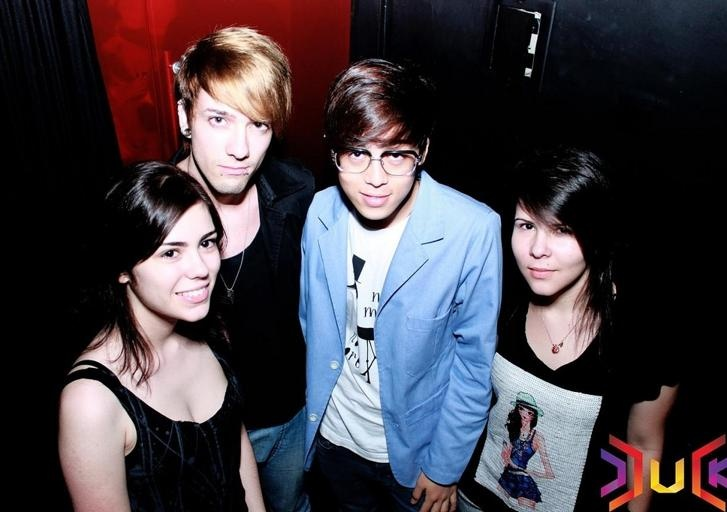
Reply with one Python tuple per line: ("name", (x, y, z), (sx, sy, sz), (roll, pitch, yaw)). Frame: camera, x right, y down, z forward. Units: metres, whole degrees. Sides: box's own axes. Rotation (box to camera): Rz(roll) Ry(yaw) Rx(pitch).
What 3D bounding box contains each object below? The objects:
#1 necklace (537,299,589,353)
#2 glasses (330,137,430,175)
("necklace", (0.953, 0.338, 2.528), (0.238, 0.292, 0.035), (2, -8, 8))
("glasses", (0.054, -0.438, 2.475), (0.374, 0.132, 0.086), (3, 23, 6))
